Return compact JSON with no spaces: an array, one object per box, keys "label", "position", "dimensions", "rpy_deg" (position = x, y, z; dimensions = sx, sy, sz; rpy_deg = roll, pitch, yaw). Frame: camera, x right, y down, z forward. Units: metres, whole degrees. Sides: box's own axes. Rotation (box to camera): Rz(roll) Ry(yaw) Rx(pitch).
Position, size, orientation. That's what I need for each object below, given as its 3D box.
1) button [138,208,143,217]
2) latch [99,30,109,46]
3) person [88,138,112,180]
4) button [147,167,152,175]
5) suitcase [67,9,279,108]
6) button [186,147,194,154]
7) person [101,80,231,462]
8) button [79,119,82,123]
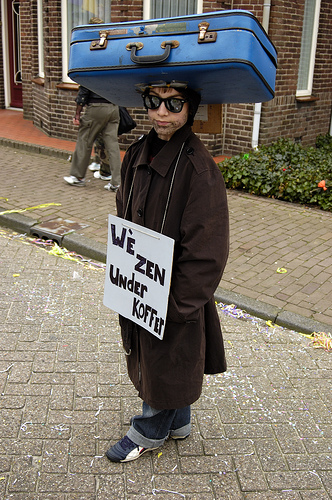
[{"label":"button","position":[-0.109,-0.155,1.757],"dimensions":[0.019,0.038,0.008],"rpy_deg":[11,20,23]},{"label":"latch","position":[-0.238,-0.800,1.590],"dimensions":[0.038,0.057,0.017],"rpy_deg":[21,18,26]},{"label":"person","position":[-1.159,-1.591,7.434],"dimensions":[0.279,0.828,0.343],"rpy_deg":[-5,55,-8]},{"label":"button","position":[-0.066,-0.320,1.723],"dimensions":[0.019,0.025,0.012],"rpy_deg":[8,43,29]},{"label":"suitcase","position":[0.023,-0.715,1.635],"dimensions":[0.453,0.275,0.888],"rpy_deg":[-15,25,-43]},{"label":"button","position":[0.091,-0.376,1.612],"dimensions":[0.025,0.021,0.025],"rpy_deg":[4,18,3]},{"label":"person","position":[0.010,0.245,1.895],"dimensions":[0.573,1.857,0.642],"rpy_deg":[0,19,-8]},{"label":"button","position":[-1.388,-2.085,6.823],"dimensions":[0.005,0.040,0.076],"rpy_deg":[-14,24,-41]}]
